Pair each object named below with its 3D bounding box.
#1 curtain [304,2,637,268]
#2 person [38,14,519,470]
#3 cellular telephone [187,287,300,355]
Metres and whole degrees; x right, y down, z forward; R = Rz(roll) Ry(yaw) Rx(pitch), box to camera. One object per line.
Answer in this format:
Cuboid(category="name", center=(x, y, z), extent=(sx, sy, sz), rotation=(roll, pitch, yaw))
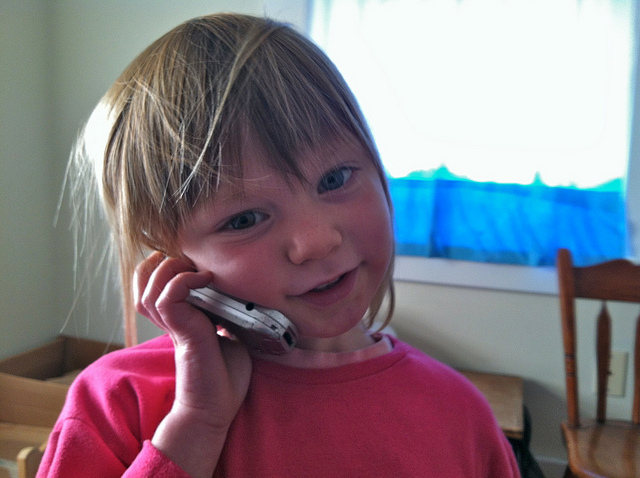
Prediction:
Cuboid(category="curtain", center=(0.579, -0.365, 1.956), extent=(0.887, 0.744, 0.036), rotation=(-1, 9, 15))
Cuboid(category="person", center=(-0.125, 0.048, 1.172), extent=(0.896, 0.972, 0.265), rotation=(-8, 9, -3))
Cuboid(category="cellular telephone", center=(-0.155, 0.152, 1.145), extent=(0.204, 0.058, 0.115), rotation=(24, -9, 22))
